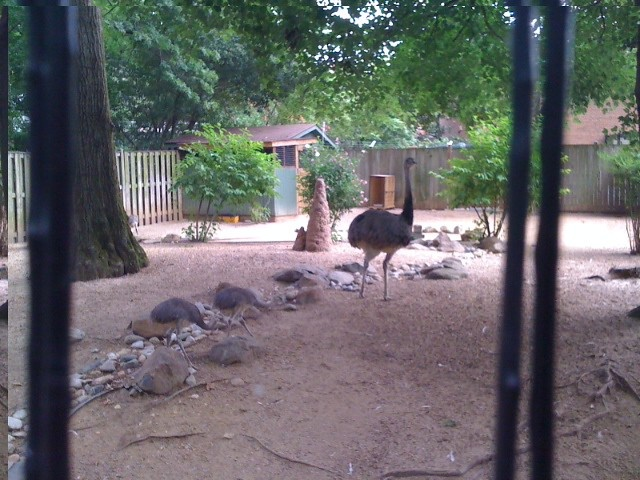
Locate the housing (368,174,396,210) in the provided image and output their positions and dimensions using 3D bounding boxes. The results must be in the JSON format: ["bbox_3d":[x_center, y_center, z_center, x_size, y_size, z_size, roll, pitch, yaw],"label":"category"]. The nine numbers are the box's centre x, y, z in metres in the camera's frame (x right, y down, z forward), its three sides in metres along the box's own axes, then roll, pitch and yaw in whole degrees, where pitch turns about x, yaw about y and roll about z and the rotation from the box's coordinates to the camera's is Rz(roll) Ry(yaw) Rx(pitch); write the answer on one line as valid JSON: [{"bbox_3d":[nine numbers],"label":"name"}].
[{"bbox_3d":[2.007,-1.571,22.064,0.903,1.490,1.019,1,0,28],"label":"housing"}]

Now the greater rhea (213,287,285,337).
[{"bbox_3d":[-0.758,0.651,6.468,0.578,0.449,0.207,18,18,6],"label":"greater rhea"}]
